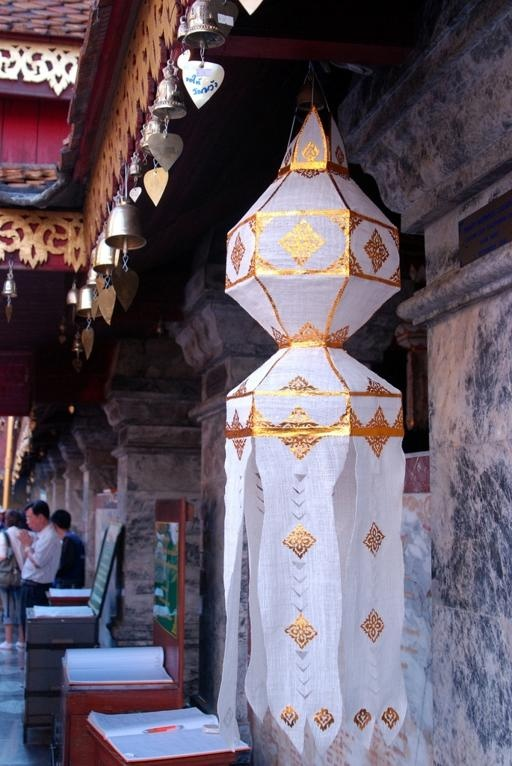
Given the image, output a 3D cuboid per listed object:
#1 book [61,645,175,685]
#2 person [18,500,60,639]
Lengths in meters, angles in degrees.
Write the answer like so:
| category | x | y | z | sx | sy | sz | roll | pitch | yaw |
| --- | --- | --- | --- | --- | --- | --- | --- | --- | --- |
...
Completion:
| category | x | y | z | sx | sy | sz | roll | pitch | yaw |
| --- | --- | --- | --- | --- | --- | --- | --- | --- | --- |
| book | -0.527 | 1.036 | 3.625 | 0.368 | 0.146 | 0.691 | 6 | -16 | -10 |
| person | -1.549 | 1.266 | 6.953 | 0.306 | 0.980 | 1.366 | 6 | -15 | -13 |
